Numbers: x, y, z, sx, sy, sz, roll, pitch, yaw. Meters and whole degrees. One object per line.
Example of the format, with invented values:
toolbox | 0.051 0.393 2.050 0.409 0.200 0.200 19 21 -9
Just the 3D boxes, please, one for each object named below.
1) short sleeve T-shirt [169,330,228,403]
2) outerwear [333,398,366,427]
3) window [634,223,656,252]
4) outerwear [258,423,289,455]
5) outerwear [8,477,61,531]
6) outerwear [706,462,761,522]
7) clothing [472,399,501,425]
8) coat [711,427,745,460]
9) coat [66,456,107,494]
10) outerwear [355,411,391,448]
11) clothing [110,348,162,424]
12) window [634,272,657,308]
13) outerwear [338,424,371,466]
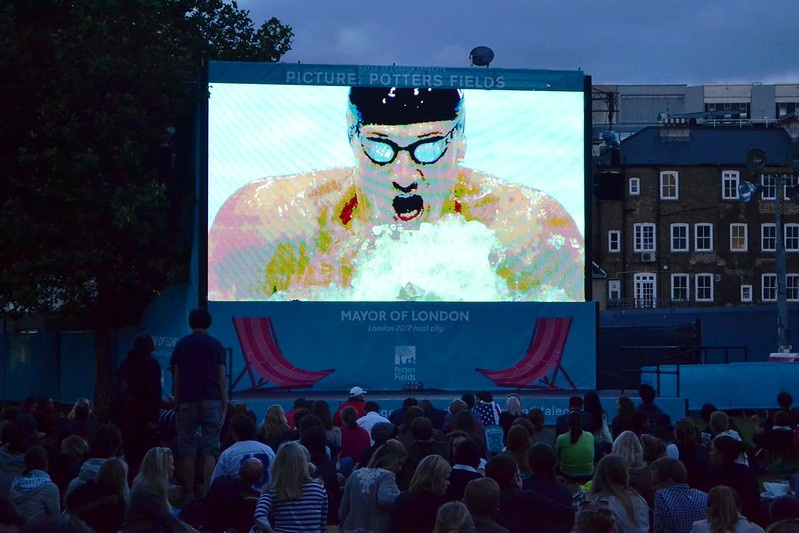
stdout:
short sleeve T-shirt | -5.544 2.803 40.534 1.652 2.097 0.750 1 -18 -7
outerwear | -1.368 4.147 42.615 1.006 1.377 0.702 3 -7 -2
window | 13.350 -1.451 79.654 1.431 2.030 0.165 1 -4 -1
outerwear | -3.353 4.700 40.053 1.021 1.005 0.574 -1 1 3
outerwear | -9.194 6.052 36.887 1.107 1.164 0.662 0 4 6
outerwear | 9.013 5.884 38.485 1.129 1.616 0.553 15 -14 -1
clothing | 2.529 4.311 42.390 0.938 1.146 0.615 1 -5 -8
coat | 9.063 4.853 40.008 0.682 0.943 0.894 -7 19 -2
coat | -8.203 5.479 38.428 0.420 1.166 0.801 39 -23 -21
outerwear | -0.807 4.817 41.274 1.297 1.369 0.746 1 -5 2
clothing | -7.079 3.463 40.351 1.335 1.958 1.066 0 -1 16
window | 13.263 1.315 78.887 1.267 1.861 1.108 1 -4 7
outerwear | -1.226 4.985 40.713 0.895 1.146 0.564 4 12 12
